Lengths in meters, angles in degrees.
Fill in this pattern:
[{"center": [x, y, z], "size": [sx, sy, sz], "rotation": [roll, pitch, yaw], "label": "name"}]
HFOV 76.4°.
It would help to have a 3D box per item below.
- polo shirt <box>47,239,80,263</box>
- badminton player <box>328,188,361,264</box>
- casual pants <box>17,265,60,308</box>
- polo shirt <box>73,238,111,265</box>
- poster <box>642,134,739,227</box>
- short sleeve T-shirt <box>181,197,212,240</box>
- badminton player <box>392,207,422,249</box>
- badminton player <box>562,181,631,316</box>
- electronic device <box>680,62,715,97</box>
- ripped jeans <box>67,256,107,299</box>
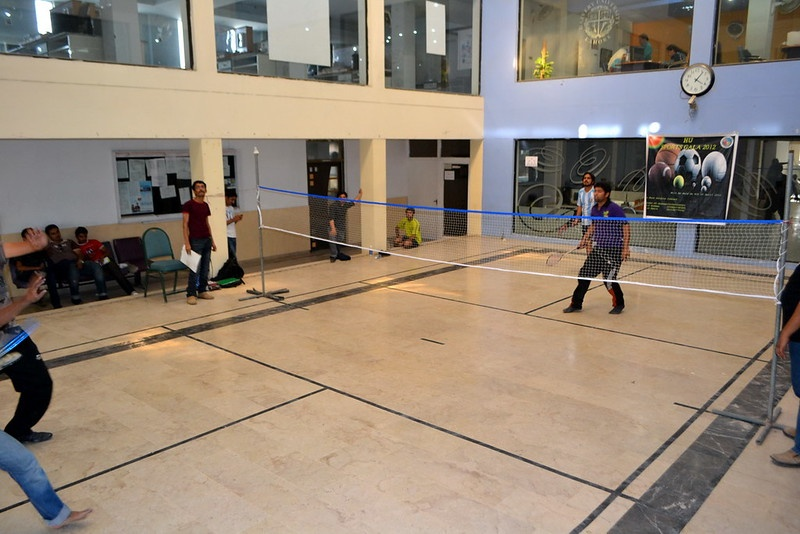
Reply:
[{"center": [-6.446, -0.287, 9.703], "size": [0.211, 0.384, 0.411], "rotation": [-18, -4, 33], "label": "polo shirt"}, {"center": [-1.536, -1.015, 12.768], "size": [0.726, 2.233, 0.724], "rotation": [11, 15, -3], "label": "badminton player"}, {"center": [-6.724, 0.000, 9.564], "size": [0.272, 0.468, 0.180], "rotation": [5, -13, 1], "label": "casual pants"}, {"center": [-6.126, -0.281, 10.066], "size": [0.229, 0.387, 0.422], "rotation": [-17, 14, 41], "label": "polo shirt"}, {"center": [6.809, -2.022, 11.724], "size": [2.491, 2.685, 0.215], "rotation": [6, 6, 32], "label": "poster"}, {"center": [-3.634, -0.847, 9.162], "size": [0.445, 0.690, 0.265], "rotation": [-10, 18, -29], "label": "short sleeve T-shirt"}, {"center": [0.248, -1.057, 13.826], "size": [0.802, 1.056, 0.736], "rotation": [-9, 19, -28], "label": "badminton player"}, {"center": [3.535, -0.301, 8.843], "size": [1.037, 2.222, 0.798], "rotation": [0, 16, 7], "label": "badminton player"}, {"center": [6.798, -4.233, 11.521], "size": [0.191, 0.813, 0.816], "rotation": [-6, 9, -37], "label": "electronic device"}, {"center": [-6.123, 0.313, 9.958], "size": [0.619, 0.779, 0.537], "rotation": [-6, -9, -32], "label": "ripped jeans"}]
